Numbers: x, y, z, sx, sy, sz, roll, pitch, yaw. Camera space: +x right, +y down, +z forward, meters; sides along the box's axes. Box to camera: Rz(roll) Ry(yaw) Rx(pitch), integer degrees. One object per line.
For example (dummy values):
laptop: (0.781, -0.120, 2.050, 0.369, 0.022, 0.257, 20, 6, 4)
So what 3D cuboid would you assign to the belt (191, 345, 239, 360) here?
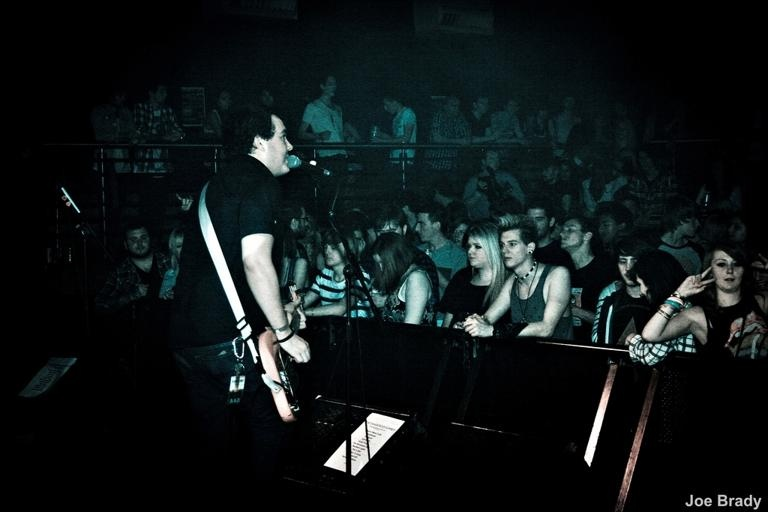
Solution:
belt: (-1.320, 0.739, 5.584, 0.374, 0.115, 0.032, 1, 13, -1)
